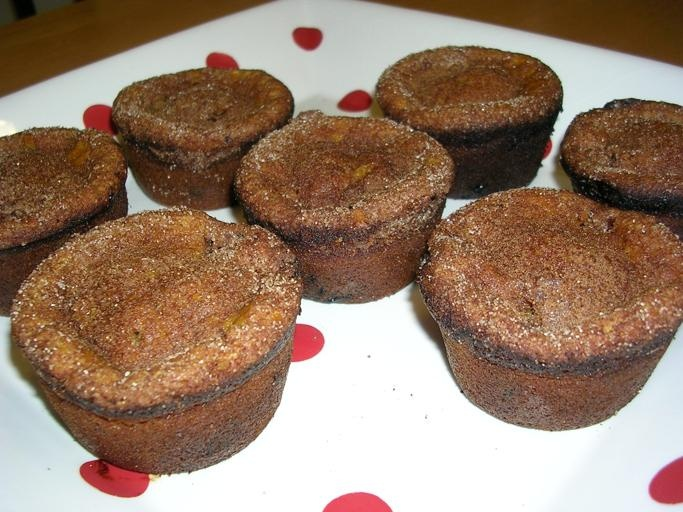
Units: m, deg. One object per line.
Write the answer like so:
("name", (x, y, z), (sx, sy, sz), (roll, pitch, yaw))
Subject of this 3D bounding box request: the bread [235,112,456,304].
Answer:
("bread", (-0.009, -0.156, 2.099), (0.612, 0.297, 0.517), (-15, 46, -15))

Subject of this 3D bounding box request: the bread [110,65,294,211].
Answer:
("bread", (-0.474, -0.399, 2.295), (0.521, 0.271, 0.558), (30, 44, 31))

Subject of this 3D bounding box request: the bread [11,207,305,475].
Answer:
("bread", (-0.429, 0.195, 1.828), (0.604, 0.371, 0.659), (32, 57, 28))
